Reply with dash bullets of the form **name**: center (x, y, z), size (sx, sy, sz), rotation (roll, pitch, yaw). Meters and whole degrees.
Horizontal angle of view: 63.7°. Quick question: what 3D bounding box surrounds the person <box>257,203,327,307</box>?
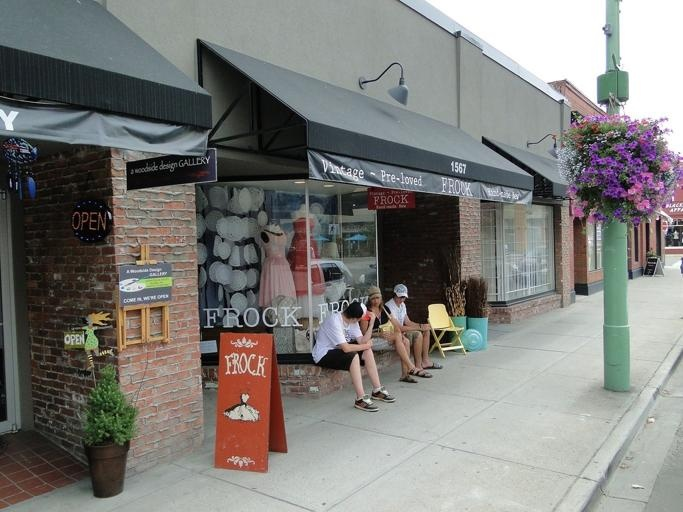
- **person**: center (-0.813, -0.007, 8.882), size (1.009, 1.618, 0.323), rotation (0, 6, 1)

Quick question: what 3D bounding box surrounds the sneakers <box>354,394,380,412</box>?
- **sneakers**: center (0.343, 2.097, 7.868), size (0.346, 0.200, 0.252), rotation (1, 6, 5)

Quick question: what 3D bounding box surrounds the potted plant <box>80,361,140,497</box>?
- **potted plant**: center (-2.406, 1.833, 5.728), size (0.516, 1.328, 0.274), rotation (-1, 6, -8)

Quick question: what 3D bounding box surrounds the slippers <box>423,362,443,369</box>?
- **slippers**: center (1.630, 1.975, 9.855), size (0.322, 0.094, 0.141), rotation (-3, 5, -7)

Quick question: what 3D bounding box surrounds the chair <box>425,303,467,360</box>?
- **chair**: center (2.009, 1.431, 10.702), size (0.582, 0.942, 0.664), rotation (-3, -1, -34)

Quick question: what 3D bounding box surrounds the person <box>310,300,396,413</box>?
- **person**: center (0.190, 1.406, 8.250), size (1.114, 1.490, 0.747), rotation (4, 7, 32)

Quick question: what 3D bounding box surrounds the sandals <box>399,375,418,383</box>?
- **sandals**: center (1.107, 2.033, 9.160), size (0.296, 0.127, 0.121), rotation (-2, 1, 23)

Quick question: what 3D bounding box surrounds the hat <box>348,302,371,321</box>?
- **hat**: center (0.263, 0.822, 8.069), size (0.329, 0.227, 0.179), rotation (6, -38, -26)

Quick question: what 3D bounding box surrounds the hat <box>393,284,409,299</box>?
- **hat**: center (1.021, 0.611, 9.626), size (0.209, 0.173, 0.297), rotation (-1, 2, -13)

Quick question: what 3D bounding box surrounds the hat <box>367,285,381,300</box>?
- **hat**: center (0.545, 0.604, 9.094), size (0.156, 0.184, 0.221), rotation (-3, -2, -7)

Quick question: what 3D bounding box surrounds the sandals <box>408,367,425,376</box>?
- **sandals**: center (1.288, 1.988, 9.390), size (0.328, 0.098, 0.125), rotation (3, 4, 37)

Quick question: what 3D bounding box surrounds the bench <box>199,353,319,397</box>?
- **bench**: center (-0.979, 1.567, 7.254), size (0.964, 0.252, 0.931), rotation (-1, -1, 24)

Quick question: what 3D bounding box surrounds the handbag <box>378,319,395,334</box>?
- **handbag**: center (0.763, 1.204, 9.344), size (0.176, 0.063, 0.180), rotation (-20, 23, -13)

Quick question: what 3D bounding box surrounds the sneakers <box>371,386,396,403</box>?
- **sneakers**: center (0.601, 2.075, 8.240), size (0.395, 0.190, 0.162), rotation (3, 3, 23)
